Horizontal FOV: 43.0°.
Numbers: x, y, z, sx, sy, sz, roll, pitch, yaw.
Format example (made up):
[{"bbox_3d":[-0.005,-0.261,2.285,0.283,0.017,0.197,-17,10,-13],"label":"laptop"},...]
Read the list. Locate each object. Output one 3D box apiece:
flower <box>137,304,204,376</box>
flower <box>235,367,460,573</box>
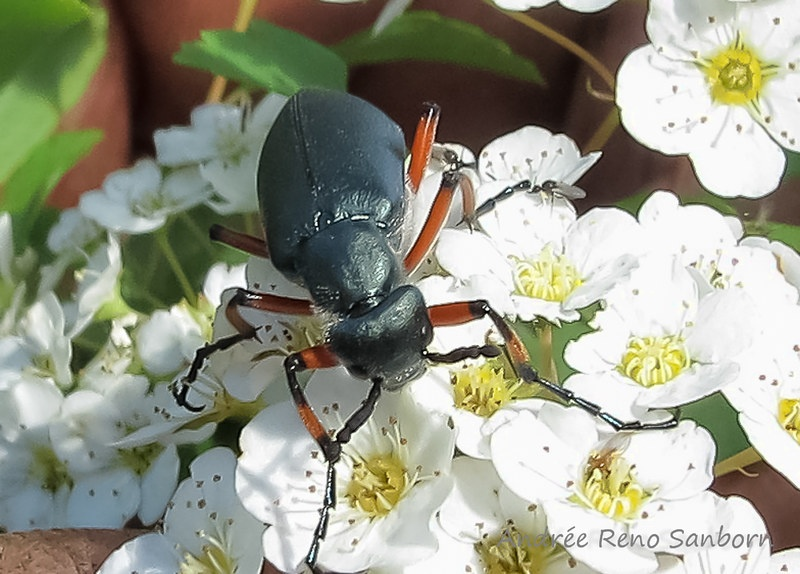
[{"bbox_3d":[-0.540,0.122,2.363,0.155,0.046,0.149,-25,76,-12],"label":"flower"},{"bbox_3d":[-0.114,0.356,2.044,0.433,0.196,0.437,6,72,-3],"label":"flower"}]
